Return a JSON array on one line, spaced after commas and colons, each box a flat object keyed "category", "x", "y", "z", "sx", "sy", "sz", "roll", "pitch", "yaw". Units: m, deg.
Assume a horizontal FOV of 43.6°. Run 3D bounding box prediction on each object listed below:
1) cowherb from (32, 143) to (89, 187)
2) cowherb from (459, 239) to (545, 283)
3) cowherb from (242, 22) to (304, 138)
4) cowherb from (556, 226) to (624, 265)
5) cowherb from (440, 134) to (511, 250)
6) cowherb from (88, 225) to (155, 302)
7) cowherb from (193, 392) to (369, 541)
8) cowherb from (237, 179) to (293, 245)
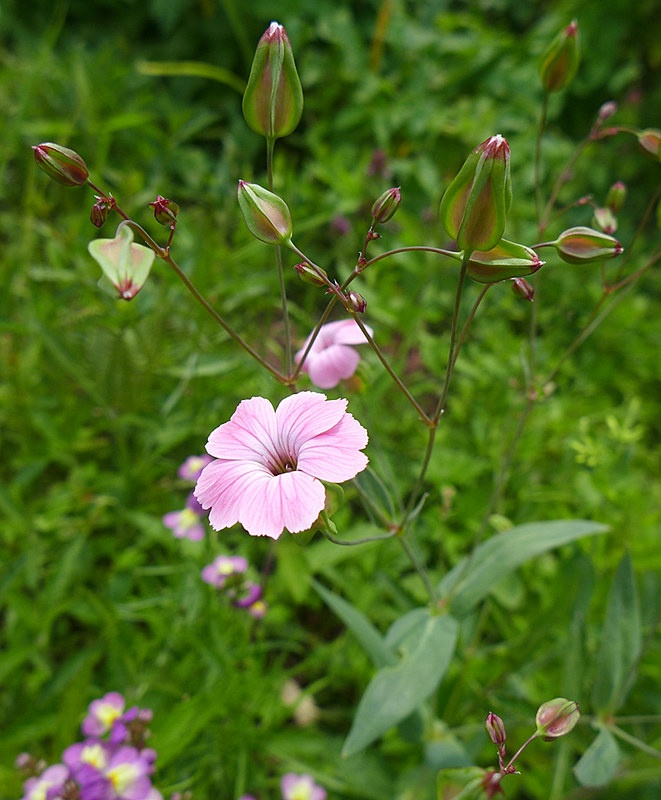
[{"category": "cowherb", "x": -0.296, "y": -0.248, "z": 0.904, "sx": 0.069, "sy": 0.036, "sz": 0.030, "roll": 33, "pitch": 109, "yaw": 15}, {"category": "cowherb", "x": 0.175, "y": -0.139, "z": 0.844, "sx": 0.079, "sy": 0.037, "sz": 0.031, "roll": 4, "pitch": 52, "yaw": 29}, {"category": "cowherb", "x": -0.064, "y": -0.349, "z": 0.919, "sx": 0.057, "sy": 0.132, "sz": 0.052, "roll": -12, "pitch": 54, "yaw": -15}, {"category": "cowherb", "x": 0.286, "y": -0.172, "z": 0.929, "sx": 0.084, "sy": 0.032, "sz": 0.035, "roll": 0, "pitch": 24, "yaw": 29}, {"category": "cowherb", "x": 0.144, "y": -0.202, "z": 0.820, "sx": 0.067, "sy": 0.091, "sz": 0.094, "roll": 0, "pitch": 78, "yaw": 1}, {"category": "cowherb", "x": -0.220, "y": -0.150, "z": 0.862, "sx": 0.071, "sy": 0.072, "sz": 0.075, "roll": -24, "pitch": 106, "yaw": -15}, {"category": "cowherb", "x": -0.050, "y": 0.062, "z": 0.868, "sx": 0.172, "sy": 0.099, "sz": 0.165, "roll": 9, "pitch": 78, "yaw": 3}, {"category": "cowherb", "x": -0.071, "y": -0.201, "z": 0.903, "sx": 0.049, "sy": 0.060, "sz": 0.070, "roll": -9, "pitch": 78, "yaw": -1}]
